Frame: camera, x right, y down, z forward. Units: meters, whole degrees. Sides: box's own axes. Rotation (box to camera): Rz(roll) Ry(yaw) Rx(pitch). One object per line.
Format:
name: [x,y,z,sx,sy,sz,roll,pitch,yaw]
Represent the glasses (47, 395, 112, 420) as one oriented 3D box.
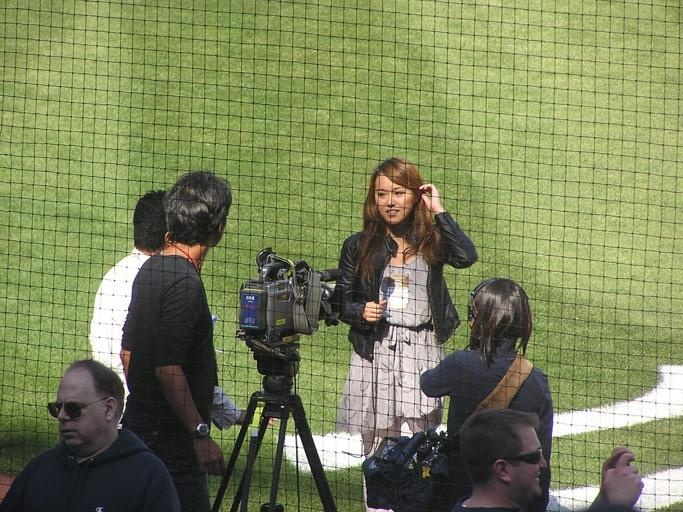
glasses: [-2.547,1.446,13.282,0.611,0.196,0.185,1,5,15]
